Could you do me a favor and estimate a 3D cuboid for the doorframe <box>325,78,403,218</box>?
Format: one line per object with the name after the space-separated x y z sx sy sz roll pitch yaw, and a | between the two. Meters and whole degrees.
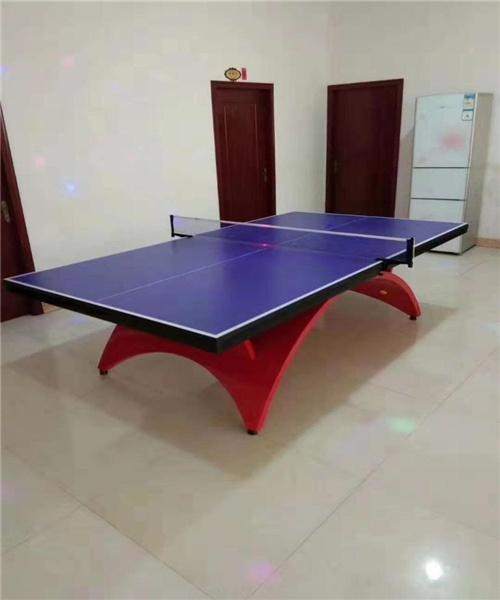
1.444 -1.850 6.269 0.847 0.095 2.101 2 73 12 | doorframe

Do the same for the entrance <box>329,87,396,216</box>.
1.471 -1.886 6.403 0.878 2.129 0.094 3 52 13 | entrance

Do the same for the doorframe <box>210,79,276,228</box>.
-0.067 -1.754 5.710 0.694 1.686 0.149 4 45 6 | doorframe

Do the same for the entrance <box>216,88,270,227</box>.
-0.077 -1.753 5.695 0.677 1.607 0.124 1 40 4 | entrance
